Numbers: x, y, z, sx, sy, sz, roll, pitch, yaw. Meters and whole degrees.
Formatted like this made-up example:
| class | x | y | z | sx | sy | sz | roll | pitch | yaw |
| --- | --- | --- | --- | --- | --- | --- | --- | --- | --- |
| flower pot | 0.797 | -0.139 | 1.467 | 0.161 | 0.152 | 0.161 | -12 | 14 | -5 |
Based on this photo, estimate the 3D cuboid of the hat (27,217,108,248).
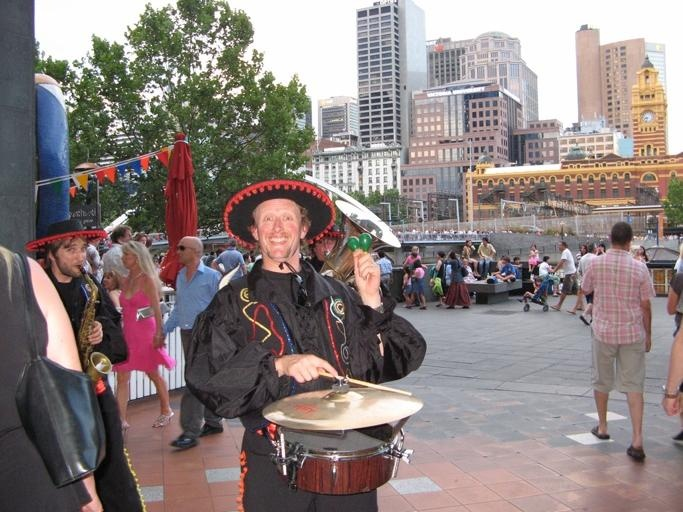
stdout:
| class | x | y | z | sx | sy | sz | roll | pitch | yaw |
| --- | --- | --- | --- | --- | --- | --- | --- | --- | --- |
| hat | -2.362 | -0.220 | 6.038 | 0.443 | 0.346 | 0.528 | 7 | 9 | 24 |

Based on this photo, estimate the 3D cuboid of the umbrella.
| class | x | y | z | sx | sy | sz | roll | pitch | yaw |
| --- | --- | --- | --- | --- | --- | --- | --- | --- | --- |
| umbrella | -2.211 | -0.690 | 9.432 | 0.515 | 2.421 | 0.571 | -5 | 14 | -39 |

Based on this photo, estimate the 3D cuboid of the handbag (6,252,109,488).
| class | x | y | z | sx | sy | sz | roll | pitch | yaw |
| --- | --- | --- | --- | --- | --- | --- | --- | --- | --- |
| handbag | -1.366 | 0.515 | 3.335 | 0.450 | 1.130 | 0.181 | 0 | 4 | 11 |
